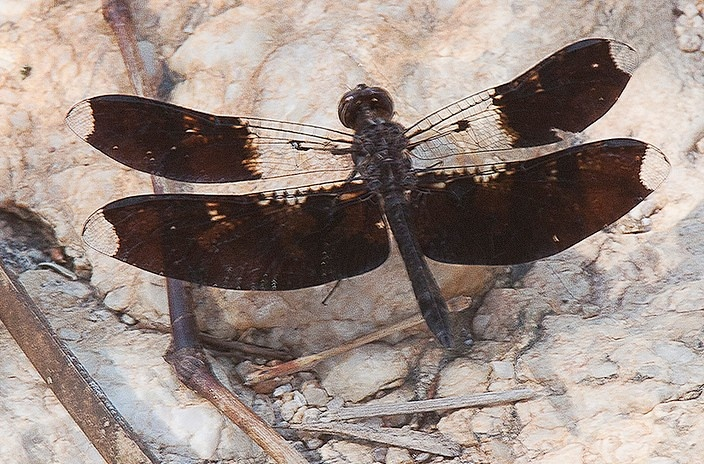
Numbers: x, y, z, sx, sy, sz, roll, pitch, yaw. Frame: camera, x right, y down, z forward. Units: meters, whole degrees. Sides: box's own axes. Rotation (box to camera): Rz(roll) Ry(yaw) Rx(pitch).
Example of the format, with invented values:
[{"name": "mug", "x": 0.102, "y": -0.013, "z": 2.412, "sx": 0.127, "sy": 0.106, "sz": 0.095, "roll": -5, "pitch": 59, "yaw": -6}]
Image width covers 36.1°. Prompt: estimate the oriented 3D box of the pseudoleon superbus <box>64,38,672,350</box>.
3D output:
[{"name": "pseudoleon superbus", "x": 0.135, "y": -0.305, "z": 6.274, "sx": 3.216, "sy": 0.867, "sz": 1.183, "roll": -6, "pitch": 56, "yaw": -4}]
